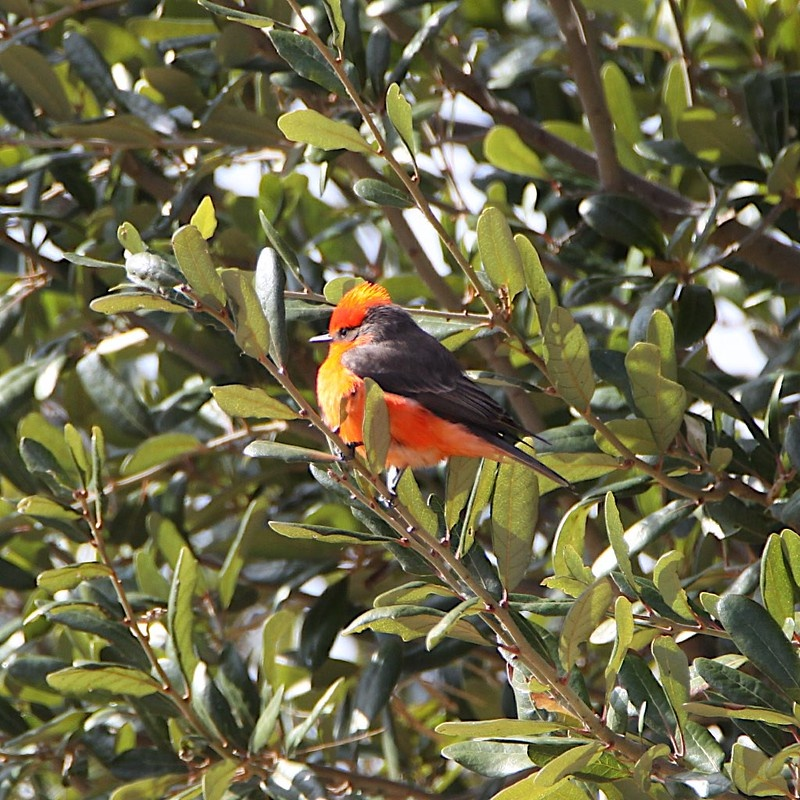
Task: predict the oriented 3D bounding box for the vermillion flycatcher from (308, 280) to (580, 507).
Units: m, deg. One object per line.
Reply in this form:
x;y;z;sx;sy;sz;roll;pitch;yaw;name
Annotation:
0.195;-0.069;4.237;1.076;0.501;0.669;3;101;26;vermillion flycatcher
